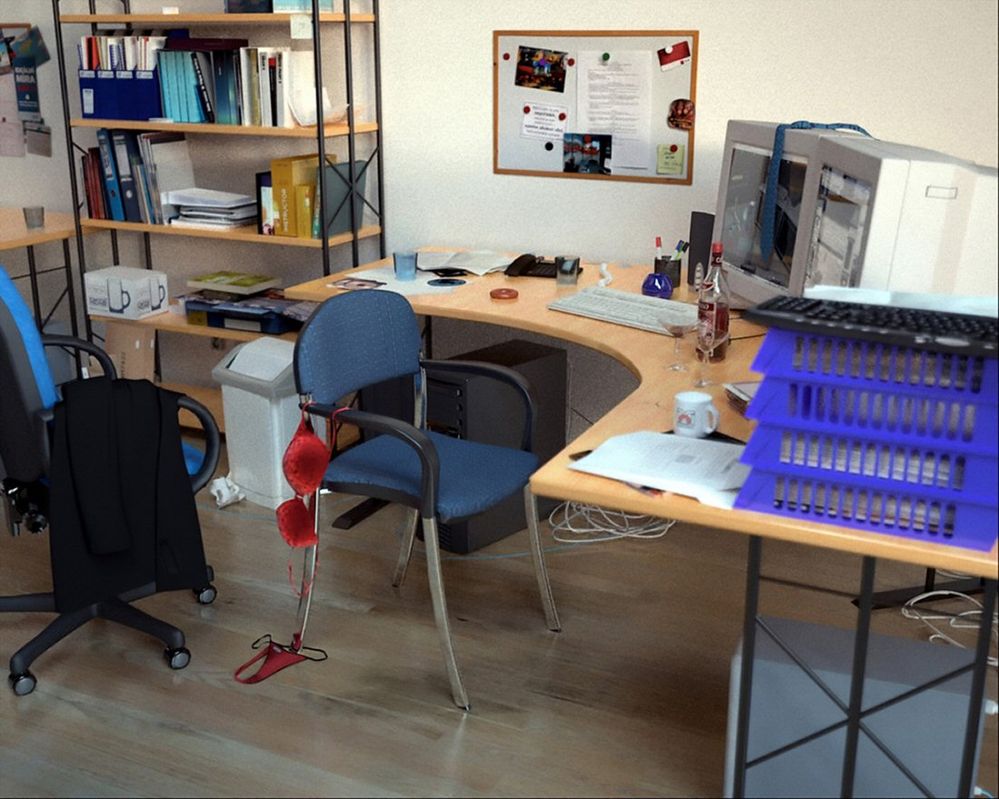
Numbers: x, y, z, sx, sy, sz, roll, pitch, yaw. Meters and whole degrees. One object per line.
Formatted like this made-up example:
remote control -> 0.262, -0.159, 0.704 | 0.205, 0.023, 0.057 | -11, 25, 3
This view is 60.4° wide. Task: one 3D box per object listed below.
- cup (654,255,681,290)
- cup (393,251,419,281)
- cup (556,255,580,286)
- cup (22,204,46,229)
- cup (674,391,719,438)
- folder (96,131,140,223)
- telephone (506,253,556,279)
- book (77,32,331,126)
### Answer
cup -> 0.575, -0.433, 2.936 | 0.113, 0.107, 0.120 | 0, 16, 0
cup -> -0.343, -0.491, 3.165 | 0.116, 0.105, 0.105 | -1, 14, 0
cup -> 0.242, -0.453, 3.089 | 0.092, 0.088, 0.097 | 0, 10, 0
cup -> -2.096, -0.819, 3.865 | 0.080, 0.095, 0.187 | -11, 20, -26
cup -> 0.414, 0.030, 1.832 | 0.074, 0.078, 0.114 | -10, 19, -31
folder -> -1.661, -0.983, 3.748 | 0.180, 0.290, 0.299 | -7, 37, -6
telephone -> 0.128, -0.496, 3.205 | 0.120, 0.044, 0.135 | 8, 21, 19
book -> -1.252, -1.317, 3.557 | 1.161, 0.376, 0.225 | 6, 21, 21
